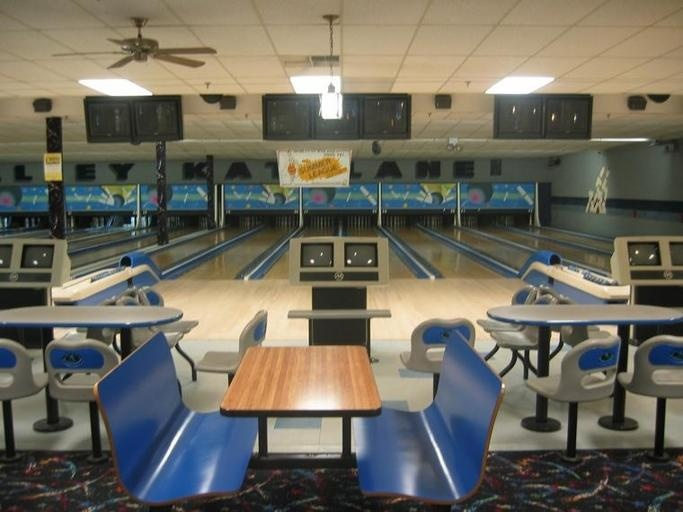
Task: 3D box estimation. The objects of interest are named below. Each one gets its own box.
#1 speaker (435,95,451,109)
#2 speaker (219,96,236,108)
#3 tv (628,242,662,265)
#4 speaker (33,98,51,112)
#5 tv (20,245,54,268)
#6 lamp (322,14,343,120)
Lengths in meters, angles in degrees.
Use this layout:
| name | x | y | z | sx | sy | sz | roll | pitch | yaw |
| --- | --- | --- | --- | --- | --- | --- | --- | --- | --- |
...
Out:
| name | x | y | z | sx | sy | sz | roll | pitch | yaw |
| --- | --- | --- | --- | --- | --- | --- | --- | --- | --- |
| speaker | 1.199 | -1.825 | 5.798 | 0.198 | 0.199 | 0.161 | -2 | 11 | -6 |
| speaker | -1.364 | -1.827 | 5.849 | 0.158 | 0.158 | 0.163 | 0 | 3 | -2 |
| tv | 2.562 | -0.020 | 4.136 | 0.295 | 0.200 | 0.085 | -3 | 6 | -12 |
| speaker | -3.655 | -1.843 | 5.972 | 0.170 | 0.150 | 0.089 | 0 | 1 | -4 |
| tv | -2.487 | 0.005 | 4.006 | 0.205 | 0.226 | 0.052 | 1 | -12 | 7 |
| lamp | -0.067 | -1.549 | 4.012 | 0.218 | 0.739 | 0.215 | -4 | 19 | 6 |
